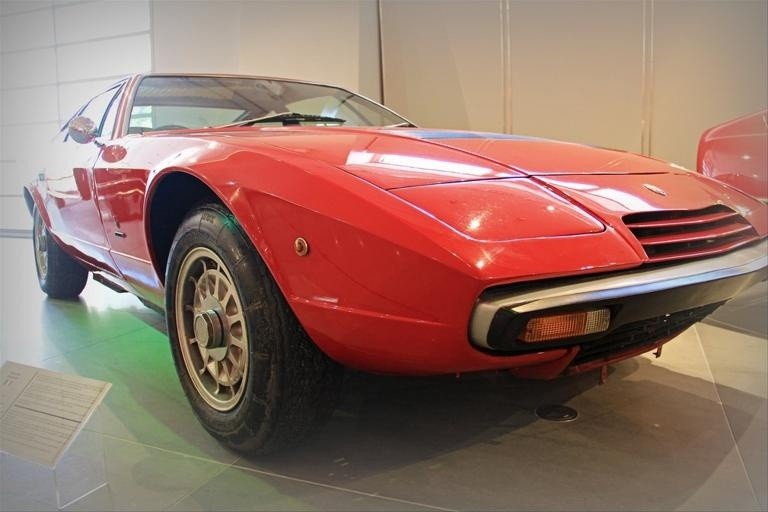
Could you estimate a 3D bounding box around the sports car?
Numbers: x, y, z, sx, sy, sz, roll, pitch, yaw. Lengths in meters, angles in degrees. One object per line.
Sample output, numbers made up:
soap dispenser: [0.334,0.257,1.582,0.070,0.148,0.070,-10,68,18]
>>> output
sports car: [-0.445,-0.076,1.961,2.805,0.751,1.563,8,9,42]
